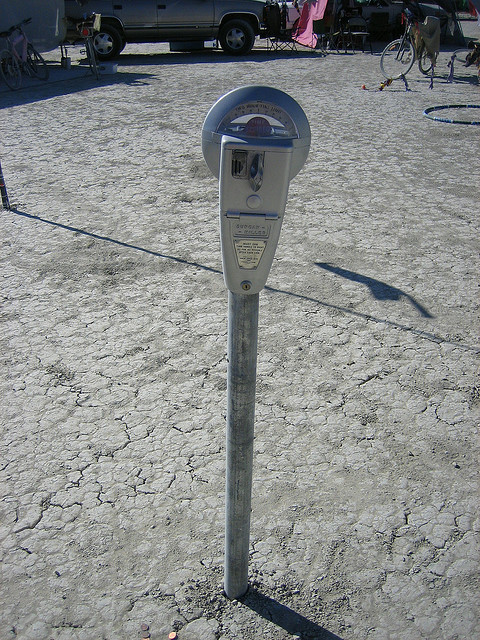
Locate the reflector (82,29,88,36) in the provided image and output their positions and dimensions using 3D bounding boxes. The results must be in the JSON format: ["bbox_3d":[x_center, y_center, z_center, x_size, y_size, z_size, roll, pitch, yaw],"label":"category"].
[{"bbox_3d":[-2.837,-5.296,11.152,0.087,0.086,0.108,3,21,4],"label":"reflector"}]

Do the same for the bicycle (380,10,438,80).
[{"bbox_3d":[3.424,-5.309,11.660,1.917,1.102,0.856,-28,43,-32],"label":"bicycle"}]
